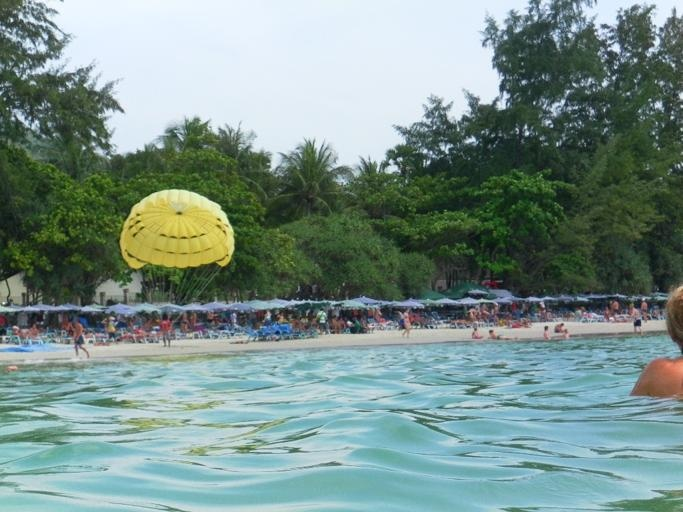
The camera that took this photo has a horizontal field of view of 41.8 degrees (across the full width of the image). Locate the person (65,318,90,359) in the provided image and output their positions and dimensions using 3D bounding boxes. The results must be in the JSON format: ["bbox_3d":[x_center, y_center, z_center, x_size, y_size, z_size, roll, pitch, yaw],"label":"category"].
[{"bbox_3d":[-8.749,2.732,30.013,0.614,1.291,0.579,-3,-17,-6],"label":"person"}]
